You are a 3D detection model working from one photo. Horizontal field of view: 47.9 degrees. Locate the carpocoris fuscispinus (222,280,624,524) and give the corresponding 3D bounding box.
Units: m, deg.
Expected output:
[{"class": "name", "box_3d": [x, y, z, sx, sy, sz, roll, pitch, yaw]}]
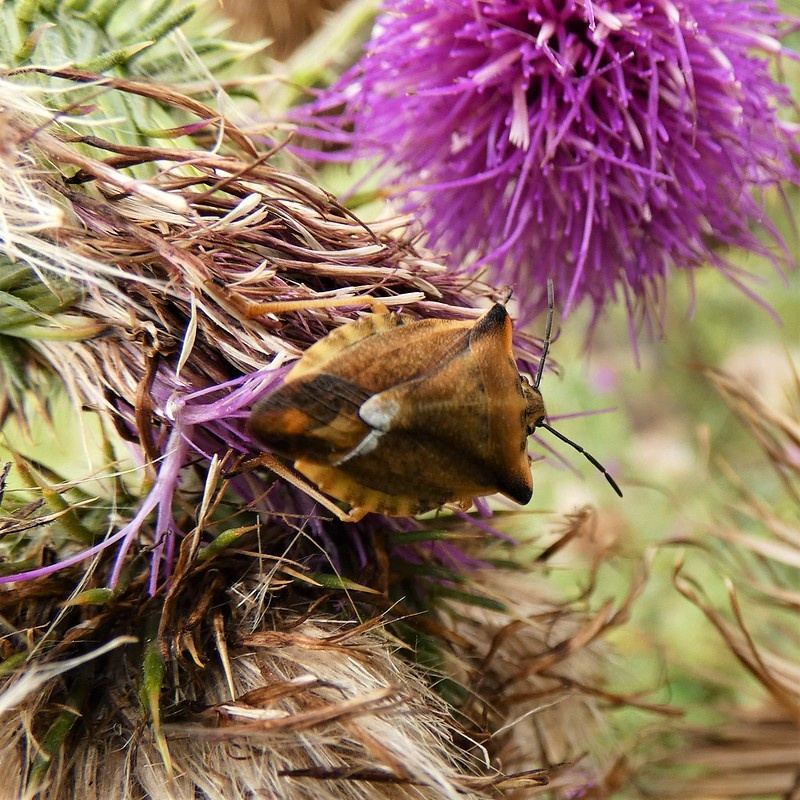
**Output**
[{"class": "carpocoris fuscispinus", "box_3d": [-0.006, -0.014, 0.978, 0.134, 0.232, 0.444, -2, 5, 43]}]
